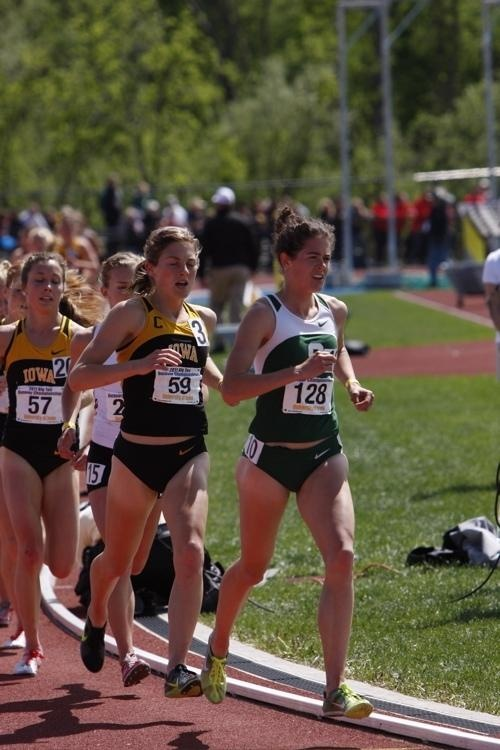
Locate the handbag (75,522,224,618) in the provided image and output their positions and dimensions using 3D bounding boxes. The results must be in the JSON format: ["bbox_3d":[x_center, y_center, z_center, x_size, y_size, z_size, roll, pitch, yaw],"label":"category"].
[{"bbox_3d":[-0.416,1.067,4.816,0.505,0.310,0.671,7,2,1],"label":"handbag"}]

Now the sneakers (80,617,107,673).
[{"bbox_3d":[-0.637,1.101,3.737,0.086,0.225,0.161,-3,-21,-24],"label":"sneakers"}]

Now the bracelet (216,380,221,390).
[{"bbox_3d":[-0.118,0.038,3.530,0.028,0.032,0.015,2,-8,-4],"label":"bracelet"}]

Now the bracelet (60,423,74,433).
[{"bbox_3d":[-0.744,0.213,3.772,0.041,0.036,0.043,-4,38,1],"label":"bracelet"}]

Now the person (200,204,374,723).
[{"bbox_3d":[0.120,0.304,3.337,0.640,1.825,0.728,-4,4,19],"label":"person"}]

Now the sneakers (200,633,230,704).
[{"bbox_3d":[-0.117,1.064,3.304,0.077,0.202,0.096,1,-23,-19],"label":"sneakers"}]

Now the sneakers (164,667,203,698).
[{"bbox_3d":[-0.241,1.056,3.178,0.066,0.083,0.173,14,-25,-31],"label":"sneakers"}]

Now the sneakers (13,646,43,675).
[{"bbox_3d":[-0.933,1.232,3.968,0.087,0.076,0.173,-4,3,15],"label":"sneakers"}]

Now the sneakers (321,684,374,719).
[{"bbox_3d":[0.322,1.098,3.069,0.082,0.092,0.214,15,-23,-30],"label":"sneakers"}]
